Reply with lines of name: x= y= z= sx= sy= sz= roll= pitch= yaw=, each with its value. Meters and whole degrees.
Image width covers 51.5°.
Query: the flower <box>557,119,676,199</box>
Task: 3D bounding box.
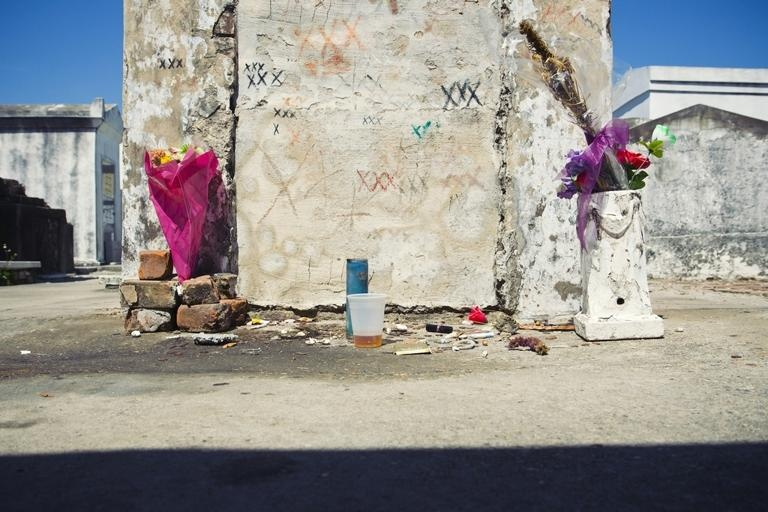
flower: x=2.835 y=-1.071 z=10.042 sx=1.165 sy=1.069 sz=0.847 roll=9 pitch=-41 yaw=-17
